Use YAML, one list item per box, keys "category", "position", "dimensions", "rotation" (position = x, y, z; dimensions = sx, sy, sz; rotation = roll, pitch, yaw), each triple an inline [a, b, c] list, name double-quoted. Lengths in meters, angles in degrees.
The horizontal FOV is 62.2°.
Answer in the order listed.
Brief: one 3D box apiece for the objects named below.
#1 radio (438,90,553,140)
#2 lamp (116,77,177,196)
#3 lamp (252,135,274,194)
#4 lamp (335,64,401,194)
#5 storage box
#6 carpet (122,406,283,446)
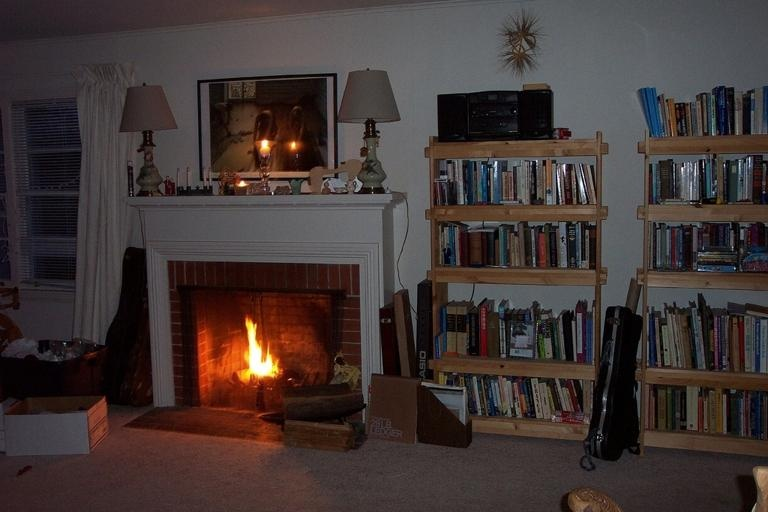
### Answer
- category: "radio"
  position: [0.882, -1.088, 4.937]
  dimensions: [0.874, 0.388, 0.260]
  rotation: [1, 13, 20]
- category: "lamp"
  position: [-2.004, -0.979, 5.438]
  dimensions: [0.441, 0.939, 0.489]
  rotation: [0, 2, -19]
- category: "lamp"
  position: [-1.000, -0.758, 5.322]
  dimensions: [0.146, 0.506, 0.413]
  rotation: [0, 2, -11]
- category: "lamp"
  position: [-0.118, -1.016, 5.090]
  dimensions: [0.480, 1.046, 0.395]
  rotation: [0, 2, -3]
- category: "storage box"
  position: [-2.485, 1.272, 4.874]
  dimensions: [0.503, 0.256, 0.499]
  rotation: [3, 0, -7]
- category: "carpet"
  position: [-1.404, 1.377, 5.202]
  dimensions: [1.333, 0.104, 0.396]
  rotation: [1, 2, 12]
